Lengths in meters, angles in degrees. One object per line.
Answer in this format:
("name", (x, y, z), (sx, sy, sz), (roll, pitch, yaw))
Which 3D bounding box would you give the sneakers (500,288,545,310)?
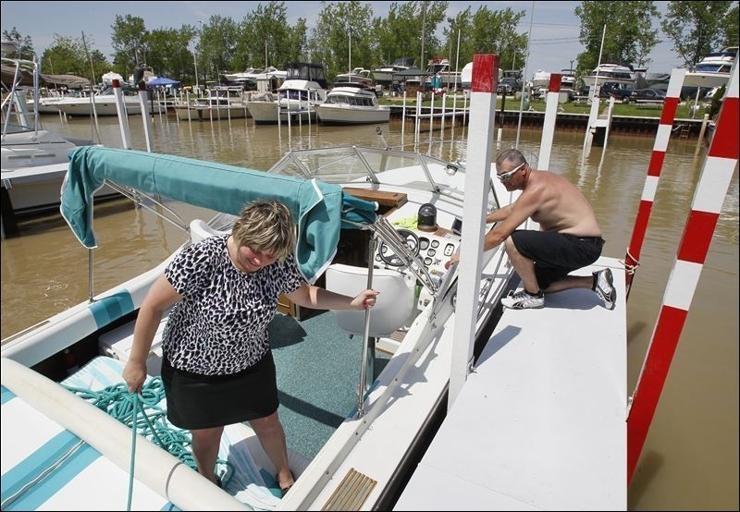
("sneakers", (1.230, 0.353, 3.708), (0.381, 0.170, 0.151), (3, 9, 9))

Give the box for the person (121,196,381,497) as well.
("person", (-0.703, 0.632, 2.818), (1.477, 1.911, 0.763), (-19, 38, -38))

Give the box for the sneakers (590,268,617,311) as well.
("sneakers", (1.876, 0.257, 3.658), (0.174, 0.365, 0.155), (-16, 14, 38))
